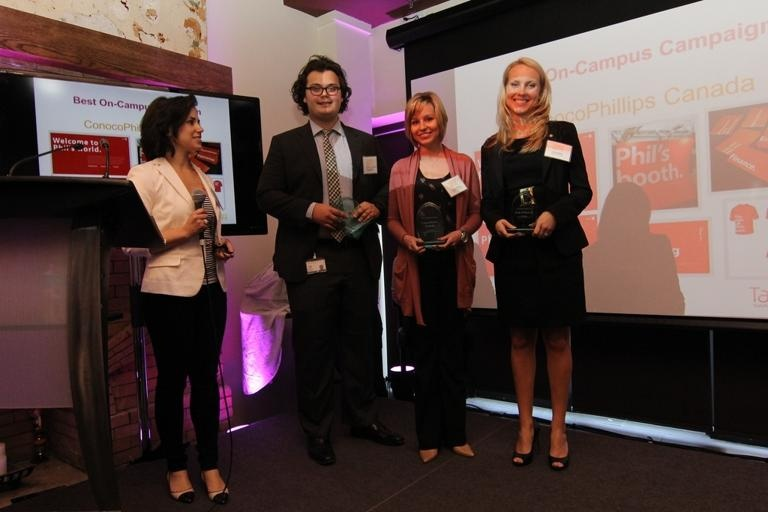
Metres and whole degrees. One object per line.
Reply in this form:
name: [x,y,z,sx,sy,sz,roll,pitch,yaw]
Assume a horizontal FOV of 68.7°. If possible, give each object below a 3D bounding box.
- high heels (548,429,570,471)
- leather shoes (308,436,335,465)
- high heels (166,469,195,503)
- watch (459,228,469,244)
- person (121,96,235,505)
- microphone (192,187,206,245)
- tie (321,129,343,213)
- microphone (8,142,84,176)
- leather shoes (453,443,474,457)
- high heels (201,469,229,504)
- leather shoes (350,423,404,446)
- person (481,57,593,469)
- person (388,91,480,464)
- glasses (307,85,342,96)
high heels: [1.090,1.197,3.543,0.131,0.192,0.445,0,-4,18]
leather shoes: [-0.408,1.268,3.664,0.181,0.134,0.164,-4,10,-4]
high heels: [-1.194,1.363,3.312,0.088,0.121,0.263,4,-10,-30]
watch: [0.494,-0.117,3.476,0.054,0.087,0.083,-6,-2,-3]
person: [-1.130,0.259,3.293,0.518,2.350,0.464,-7,9,-24]
microphone: [-1.054,-0.239,3.245,0.074,0.288,0.145,-5,9,-17]
tie: [-0.334,-0.559,3.704,0.092,0.556,0.058,-6,-7,-10]
microphone: [-2.093,-0.596,3.459,0.260,0.074,0.283,-19,29,-34]
leather shoes: [0.509,1.248,3.611,0.055,0.071,0.170,-5,-11,-25]
high heels: [-0.985,1.360,3.323,0.105,0.061,0.231,2,16,-36]
leather shoes: [-0.042,1.228,3.926,0.384,0.147,0.134,3,1,23]
person: [0.934,0.040,3.460,0.652,2.469,0.457,-1,9,11]
person: [0.336,0.125,3.597,0.595,2.292,0.447,-3,9,1]
glasses: [-0.403,-1.090,3.700,0.209,0.069,0.056,-3,9,-2]
